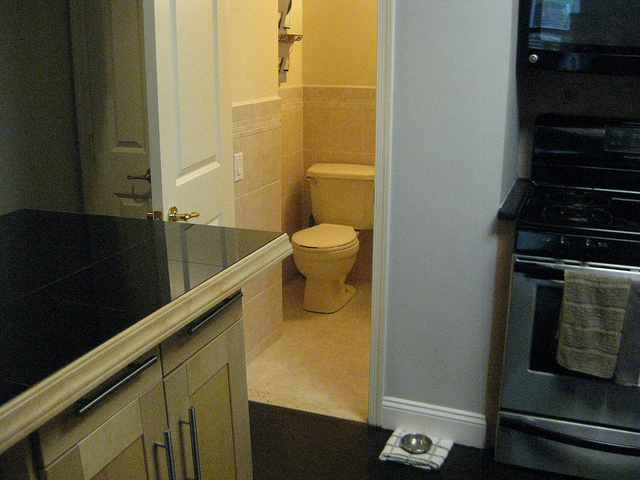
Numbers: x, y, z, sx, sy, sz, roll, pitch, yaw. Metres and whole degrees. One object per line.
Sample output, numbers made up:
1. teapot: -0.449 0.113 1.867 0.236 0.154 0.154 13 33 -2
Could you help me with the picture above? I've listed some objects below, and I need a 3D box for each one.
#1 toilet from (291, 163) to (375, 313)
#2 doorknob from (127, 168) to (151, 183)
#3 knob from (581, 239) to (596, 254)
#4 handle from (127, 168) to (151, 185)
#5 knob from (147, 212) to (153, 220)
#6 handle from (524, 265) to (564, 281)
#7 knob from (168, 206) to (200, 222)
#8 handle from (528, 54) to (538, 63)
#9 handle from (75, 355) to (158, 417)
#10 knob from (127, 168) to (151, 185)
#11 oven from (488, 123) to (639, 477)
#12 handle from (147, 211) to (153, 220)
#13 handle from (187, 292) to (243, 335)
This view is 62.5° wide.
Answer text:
1. toilet: 0.080 -0.012 3.635 0.573 0.882 0.849 7 19 21
2. doorknob: -0.681 -0.241 1.991 0.076 0.051 0.046 2 50 -5
3. knob: 0.951 0.022 1.865 0.037 0.050 0.019 9 10 25
4. handle: -0.682 -0.242 1.993 0.075 0.051 0.046 3 24 -1
5. knob: -0.651 -0.097 2.016 0.018 0.021 0.031 -6 19 -25
6. handle: 0.811 0.118 1.907 0.128 0.049 0.003 9 17 19
7. knob: -0.507 -0.094 1.977 0.108 0.071 0.067 2 9 13
8. handle: 0.801 -0.683 1.974 0.026 0.028 0.006 -4 -7 -1
9. handle: -0.434 0.309 1.107 0.059 0.022 0.190 11 17 16
10. knob: -0.682 -0.242 2.001 0.081 0.054 0.047 3 31 -3
11. oven: 1.024 0.259 2.071 0.547 1.362 0.609 8 17 20
12. handle: -0.645 -0.094 1.998 0.024 0.036 0.033 3 4 0
13. handle: -0.290 0.199 1.400 0.058 0.022 0.185 19 32 28
